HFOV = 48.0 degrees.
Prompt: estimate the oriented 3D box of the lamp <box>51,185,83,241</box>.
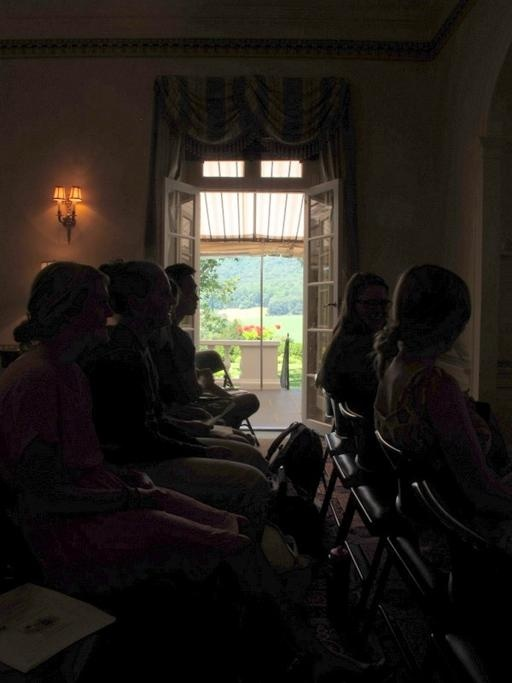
[{"bbox_3d":[-1.514,-1.016,4.542,0.211,0.429,0.213,12,1,-19],"label":"lamp"}]
